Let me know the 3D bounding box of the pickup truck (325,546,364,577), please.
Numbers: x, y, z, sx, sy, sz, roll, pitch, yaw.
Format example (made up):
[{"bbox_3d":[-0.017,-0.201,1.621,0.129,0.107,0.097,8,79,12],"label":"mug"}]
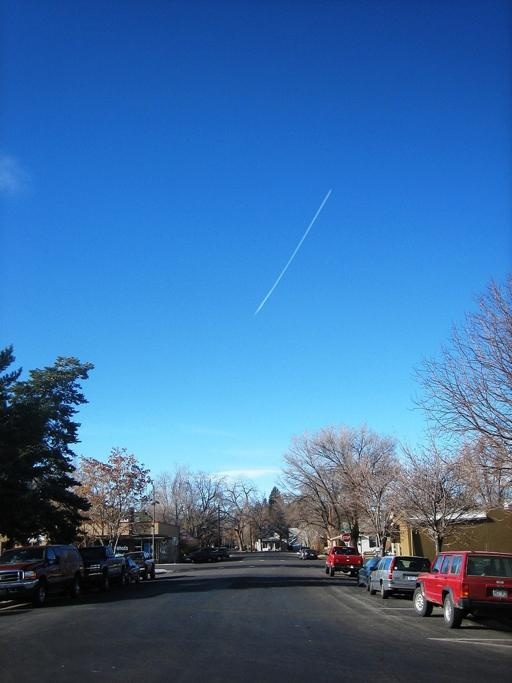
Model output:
[{"bbox_3d":[4.918,12.454,35.438,1.765,1.663,3.749,2,-16,-2],"label":"pickup truck"}]

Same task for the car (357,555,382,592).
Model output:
[{"bbox_3d":[4.424,8.801,23.408,0.952,1.072,2.224,4,-20,-5],"label":"car"}]

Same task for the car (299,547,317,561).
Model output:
[{"bbox_3d":[6.523,26.868,77.538,1.245,1.037,3.002,0,-23,-2],"label":"car"}]
